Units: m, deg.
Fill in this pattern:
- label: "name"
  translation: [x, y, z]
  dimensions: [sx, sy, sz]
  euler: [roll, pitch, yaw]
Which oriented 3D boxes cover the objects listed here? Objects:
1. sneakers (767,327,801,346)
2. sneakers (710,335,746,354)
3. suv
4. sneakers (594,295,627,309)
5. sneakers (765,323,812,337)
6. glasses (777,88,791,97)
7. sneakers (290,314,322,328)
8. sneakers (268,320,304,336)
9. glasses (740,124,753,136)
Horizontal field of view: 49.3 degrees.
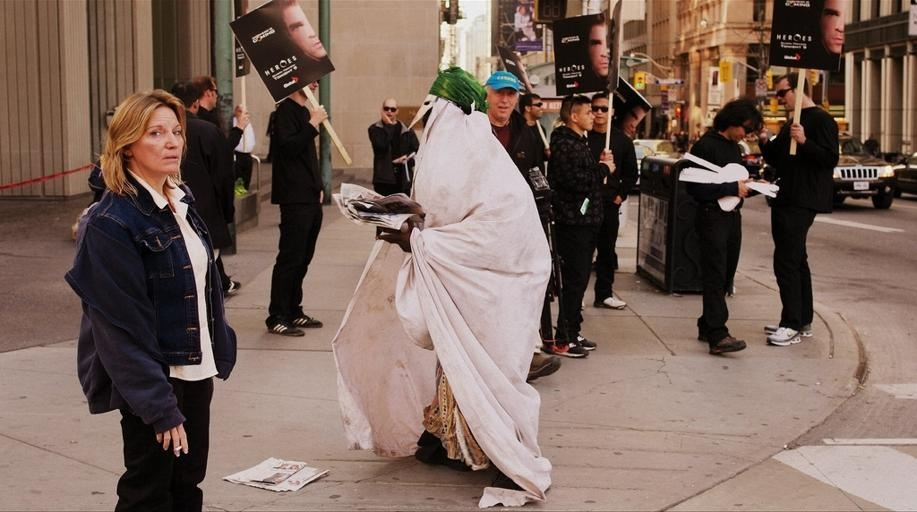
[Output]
- label: "sneakers"
  translation: [4.313, 1.074, 13.201]
  dimensions: [0.487, 0.204, 0.198]
  euler: [-1, -3, -23]
- label: "sneakers"
  translation: [3.466, 1.133, 12.759]
  dimensions: [0.216, 0.186, 0.435]
  euler: [2, -9, -35]
- label: "suv"
  translation: [10.444, -2.405, 26.748]
  dimensions: [1.774, 1.491, 3.674]
  euler: [-1, 11, 11]
- label: "sneakers"
  translation: [2.270, 0.681, 14.818]
  dimensions: [0.451, 0.166, 0.199]
  euler: [0, 2, 22]
- label: "sneakers"
  translation: [4.516, 1.010, 13.571]
  dimensions: [0.639, 0.264, 0.232]
  euler: [3, 3, -3]
- label: "glasses"
  translation: [4.438, -2.245, 13.612]
  dimensions: [0.119, 0.033, 0.114]
  euler: [-24, 3, -20]
- label: "sneakers"
  translation: [-2.074, 0.885, 13.602]
  dimensions: [0.403, 0.156, 0.166]
  euler: [0, 2, -8]
- label: "sneakers"
  translation: [-2.299, 0.959, 13.266]
  dimensions: [0.409, 0.146, 0.200]
  euler: [1, 1, 2]
- label: "glasses"
  translation: [3.741, -1.635, 12.851]
  dimensions: [0.112, 0.109, 0.094]
  euler: [1, 5, 5]
